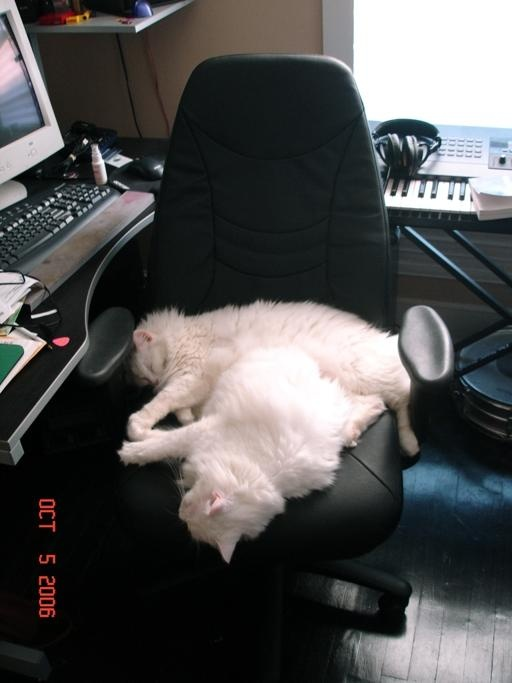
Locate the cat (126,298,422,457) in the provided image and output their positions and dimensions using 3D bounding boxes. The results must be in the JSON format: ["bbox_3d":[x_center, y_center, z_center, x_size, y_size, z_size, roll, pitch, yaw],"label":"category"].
[{"bbox_3d":[0.031,0.020,1.049,0.385,0.325,0.455,-12,20,-40],"label":"cat"}]

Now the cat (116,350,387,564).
[{"bbox_3d":[0.016,0.134,0.921,0.420,0.159,0.282,-38,49,-26],"label":"cat"}]
